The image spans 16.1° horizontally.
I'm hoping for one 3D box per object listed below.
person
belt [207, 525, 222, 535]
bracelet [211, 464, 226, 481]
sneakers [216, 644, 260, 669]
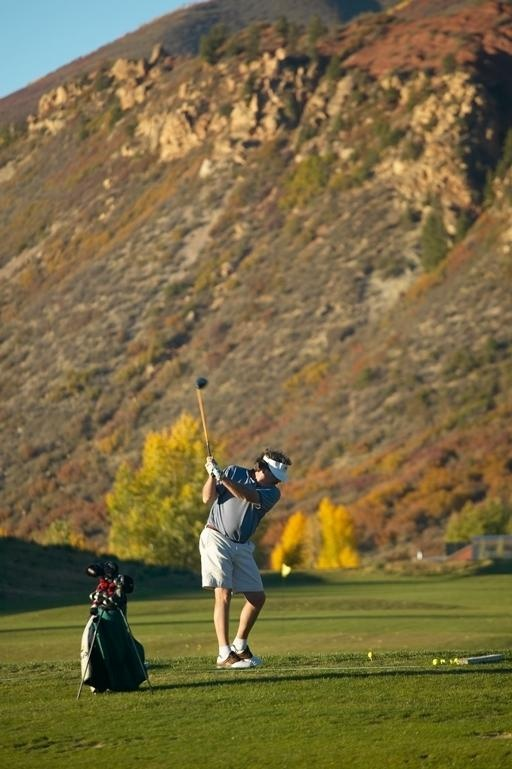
[{"bbox_3d":[-0.179,2.202,23.531,1.265,2.582,0.429,-14,4,-2],"label":"person"},{"bbox_3d":[-0.563,1.834,23.500,0.100,0.143,0.056,14,65,54],"label":"belt"},{"bbox_3d":[-0.513,1.146,23.372,0.076,0.201,0.138,-42,-13,30],"label":"bracelet"},{"bbox_3d":[-0.260,3.524,23.467,0.561,0.292,0.265,-19,5,-4],"label":"sneakers"}]
